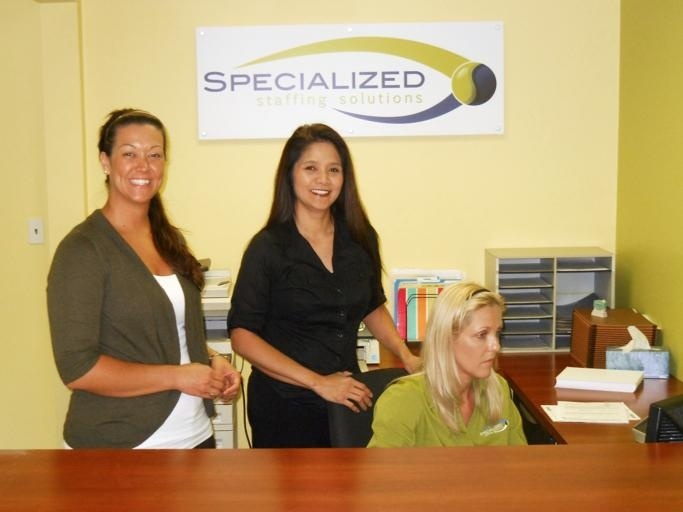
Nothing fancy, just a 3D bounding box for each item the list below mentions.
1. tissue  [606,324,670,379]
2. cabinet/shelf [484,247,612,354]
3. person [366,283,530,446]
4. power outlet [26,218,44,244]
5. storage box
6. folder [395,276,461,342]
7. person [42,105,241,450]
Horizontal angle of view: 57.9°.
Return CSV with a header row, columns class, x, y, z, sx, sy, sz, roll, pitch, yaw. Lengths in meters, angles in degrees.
class,x,y,z,sx,sy,sz,roll,pitch,yaw
tissue ,1.457,0.488,3.134,0.344,0.322,0.199,1,5,13
cabinet/shelf,1.138,0.247,3.433,0.601,0.506,0.302,0,4,-1
person,0.383,0.414,2.214,0.716,0.622,0.375,0,3,-28
power outlet,-1.792,-0.146,3.599,0.023,0.164,0.152,-2,1,31
storage box,1.442,0.415,3.305,0.303,0.222,0.305,-2,10,1
folder,0.390,0.256,2.924,0.393,0.403,0.120,0,0,0
person,-0.643,0.100,2.050,0.620,1.202,0.532,-5,6,-37
